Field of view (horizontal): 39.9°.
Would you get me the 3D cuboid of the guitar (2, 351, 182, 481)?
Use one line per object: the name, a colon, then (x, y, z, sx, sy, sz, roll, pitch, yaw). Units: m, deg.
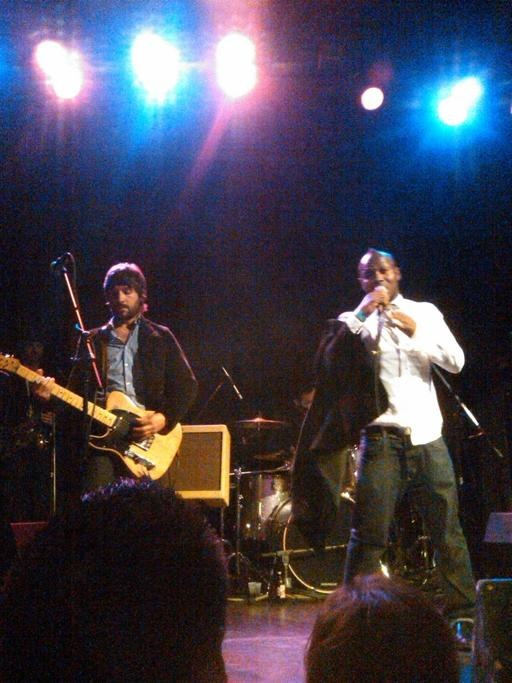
guitar: (-0.713, 0.408, 3.446, 0.849, 0.489, 0.645, 10, -18, -17)

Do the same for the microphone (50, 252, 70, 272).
microphone: (-0.939, -0.374, 3.403, 0.082, 0.119, 0.097, 10, -18, -18)

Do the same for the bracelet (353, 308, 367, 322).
bracelet: (0.473, -0.118, 3.173, 0.047, 0.039, 0.049, -5, 8, -15)

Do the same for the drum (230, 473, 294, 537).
drum: (0.088, 1.465, 6.332, 0.510, 0.611, 0.549, -1, -15, 8)

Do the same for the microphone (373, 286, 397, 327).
microphone: (0.578, -0.163, 3.181, 0.050, 0.215, 0.060, -13, -47, -4)

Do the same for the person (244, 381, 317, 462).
person: (0.089, 0.822, 6.731, 0.714, 0.854, 0.809, -6, -5, 37)
